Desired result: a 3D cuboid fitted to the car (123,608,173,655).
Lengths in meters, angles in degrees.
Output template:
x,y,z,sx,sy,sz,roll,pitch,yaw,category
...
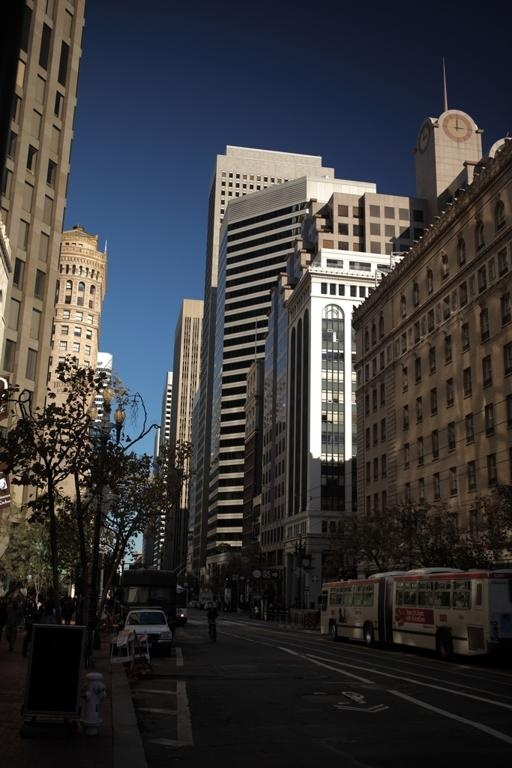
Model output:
x,y,z,sx,sy,sz,roll,pitch,yaw,category
-3.383,7.817,23.174,1.327,1.627,3.304,2,-20,-8,car
